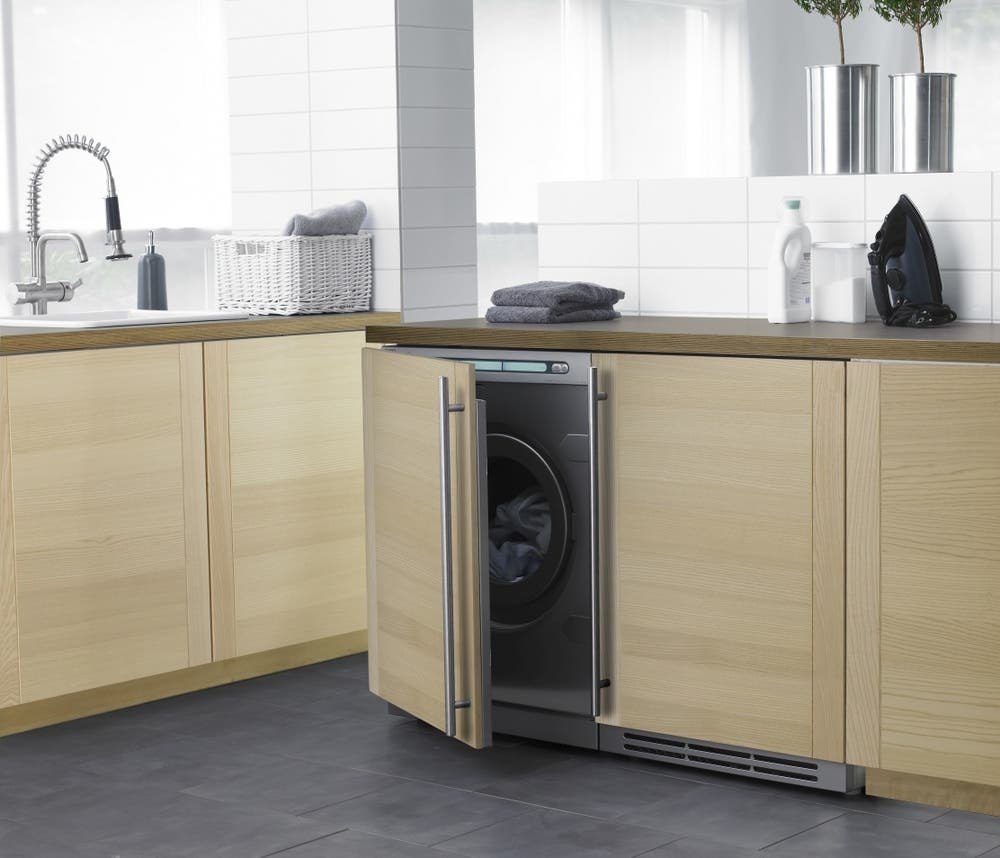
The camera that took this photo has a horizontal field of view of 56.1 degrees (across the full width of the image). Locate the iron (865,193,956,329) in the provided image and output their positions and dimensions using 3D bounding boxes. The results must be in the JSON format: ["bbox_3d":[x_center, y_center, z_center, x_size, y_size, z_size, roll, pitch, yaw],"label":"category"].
[{"bbox_3d":[0.951,-0.388,2.164,0.171,0.314,0.100,-2,-2,7],"label":"iron"}]

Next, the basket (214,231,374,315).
[{"bbox_3d":[-0.718,-0.500,3.252,0.426,0.201,0.407,-1,1,34],"label":"basket"}]

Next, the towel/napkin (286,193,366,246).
[{"bbox_3d":[-0.584,-0.702,3.193,0.110,0.088,0.340,-8,5,35],"label":"towel/napkin"}]

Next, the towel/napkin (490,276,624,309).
[{"bbox_3d":[0.148,-0.388,2.630,0.318,0.090,0.323,-11,14,-44],"label":"towel/napkin"}]

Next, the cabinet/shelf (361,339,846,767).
[{"bbox_3d":[0.260,0.269,2.058,1.254,0.695,0.674,1,4,32],"label":"cabinet/shelf"}]

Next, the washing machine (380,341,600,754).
[{"bbox_3d":[-0.043,0.279,2.221,0.548,0.860,0.652,-12,16,-41],"label":"washing machine"}]

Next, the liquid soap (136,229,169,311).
[{"bbox_3d":[-1.215,-0.536,3.257,0.091,0.287,0.218,-1,-1,-20],"label":"liquid soap"}]
